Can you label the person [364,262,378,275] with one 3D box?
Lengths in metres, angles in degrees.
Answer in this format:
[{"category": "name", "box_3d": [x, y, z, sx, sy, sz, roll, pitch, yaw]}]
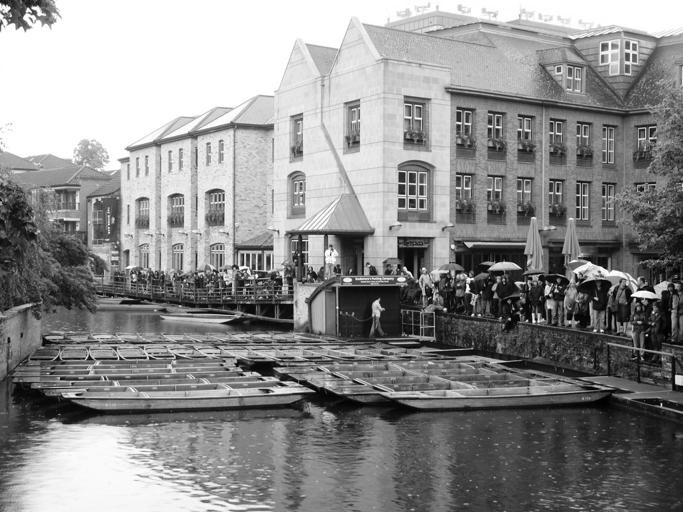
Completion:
[{"category": "person", "box_3d": [1.490, 0.566, 50.144, 0.315, 0.871, 0.396, -19, 12, 10]}]
